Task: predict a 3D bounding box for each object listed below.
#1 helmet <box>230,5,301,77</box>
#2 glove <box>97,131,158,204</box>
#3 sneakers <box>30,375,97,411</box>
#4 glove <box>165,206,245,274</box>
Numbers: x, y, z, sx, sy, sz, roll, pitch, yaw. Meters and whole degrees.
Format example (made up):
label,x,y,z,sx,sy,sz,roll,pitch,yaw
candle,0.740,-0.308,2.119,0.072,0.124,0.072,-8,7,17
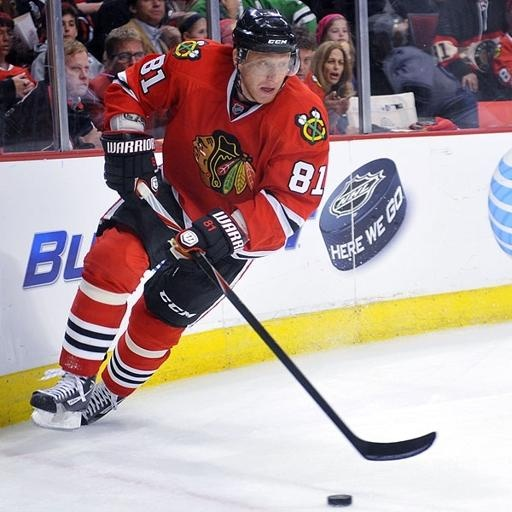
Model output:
label,x,y,z,sx,sy,sz,roll,pitch,yaw
helmet,-0.029,-0.685,2.209,0.206,0.206,0.235,-8,31,-23
glove,-0.425,-0.307,2.319,0.276,0.221,0.181,-3,5,-20
sneakers,-0.635,0.461,2.335,0.099,0.127,0.219,6,11,36
glove,-0.148,-0.061,2.184,0.241,0.084,0.122,-25,72,-23
